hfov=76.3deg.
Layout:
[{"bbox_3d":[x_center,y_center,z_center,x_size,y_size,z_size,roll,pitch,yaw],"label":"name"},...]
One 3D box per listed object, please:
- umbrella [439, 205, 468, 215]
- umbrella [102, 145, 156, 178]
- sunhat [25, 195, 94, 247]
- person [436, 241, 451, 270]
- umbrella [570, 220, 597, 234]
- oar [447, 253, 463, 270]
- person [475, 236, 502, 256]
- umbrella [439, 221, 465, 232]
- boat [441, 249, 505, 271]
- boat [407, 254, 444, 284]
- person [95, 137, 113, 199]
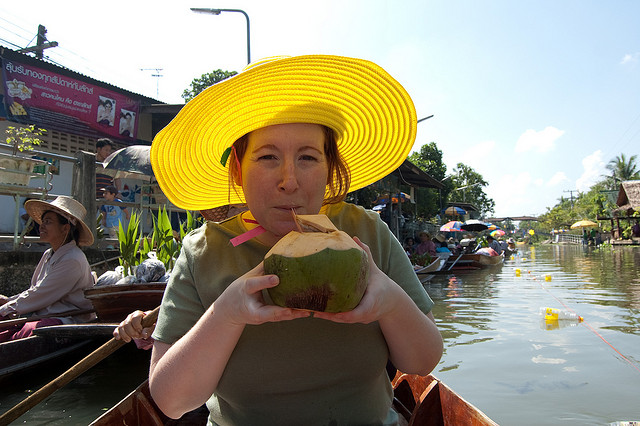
[{"bbox_3d":[9.012,-0.184,27.599,1.367,0.524,2.161,0,0,17],"label":"umbrella"},{"bbox_3d":[-4.545,-1.313,9.697,0.976,0.724,0.937,0,0,-27],"label":"umbrella"},{"bbox_3d":[-3.628,0.105,5.733,0.838,0.717,0.677,0,0,35],"label":"sunhat"},{"bbox_3d":[5.304,1.731,17.673,0.385,1.094,0.929,21,-11,-25],"label":"person"},{"bbox_3d":[40.539,2.043,62.372,2.574,1.945,2.730,1,-5,23],"label":"umbrella"},{"bbox_3d":[5.785,2.088,17.385,1.143,0.161,0.111,-34,-21,-15],"label":"oar"},{"bbox_3d":[9.355,1.824,22.487,0.561,0.797,1.786,-3,15,7],"label":"person"},{"bbox_3d":[7.563,0.739,23.368,1.018,0.468,1.476,0,0,9],"label":"umbrella"},{"bbox_3d":[6.975,2.164,18.305,1.384,0.612,4.470,-5,-5,33],"label":"boat"},{"bbox_3d":[3.449,1.740,12.844,1.317,0.836,3.107,-2,-6,9],"label":"boat"},{"bbox_3d":[-5.642,-1.017,10.644,0.584,0.557,2.083,-2,-39,-28],"label":"person"}]
